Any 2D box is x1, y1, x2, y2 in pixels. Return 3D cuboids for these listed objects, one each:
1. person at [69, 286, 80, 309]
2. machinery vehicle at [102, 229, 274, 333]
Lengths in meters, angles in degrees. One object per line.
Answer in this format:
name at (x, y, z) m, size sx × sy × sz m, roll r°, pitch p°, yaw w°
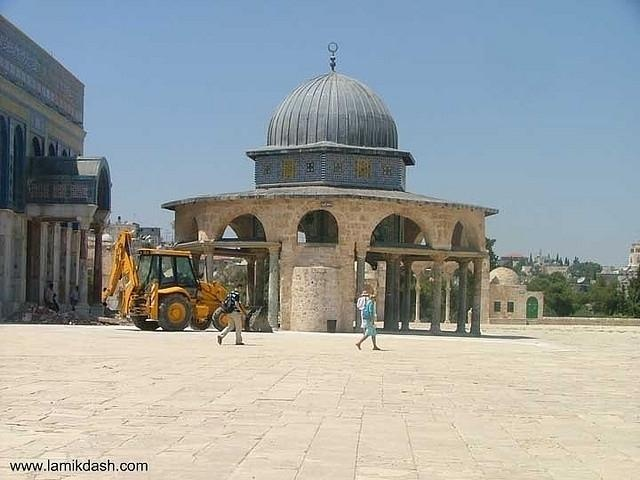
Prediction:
person at (-14.006, 3.352, 46.077) m, size 0.490 × 1.448 × 3.250 m, roll 2°, pitch -7°, yaw -17°
machinery vehicle at (-4.926, 1.827, 31.814) m, size 6.849 × 4.362 × 2.844 m, roll -2°, pitch 4°, yaw -15°
